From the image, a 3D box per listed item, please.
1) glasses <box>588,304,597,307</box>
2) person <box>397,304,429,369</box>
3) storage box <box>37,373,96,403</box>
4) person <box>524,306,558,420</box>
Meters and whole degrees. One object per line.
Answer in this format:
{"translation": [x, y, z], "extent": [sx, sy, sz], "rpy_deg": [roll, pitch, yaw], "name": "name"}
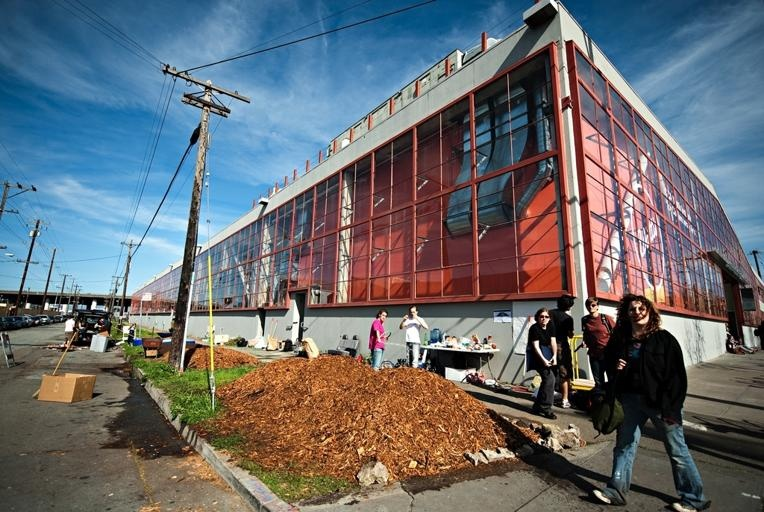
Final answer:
{"translation": [4.843, 1.135, 9.198], "extent": [0.095, 0.030, 0.088], "rpy_deg": [21, -25, -28], "name": "glasses"}
{"translation": [1.014, 2.507, 12.216], "extent": [0.710, 2.016, 1.434], "rpy_deg": [0, 1, 6], "name": "person"}
{"translation": [-7.973, 3.346, 10.203], "extent": [0.970, 0.564, 0.907], "rpy_deg": [1, -12, -4], "name": "storage box"}
{"translation": [3.464, 2.329, 8.693], "extent": [0.565, 2.347, 0.449], "rpy_deg": [0, 1, 19], "name": "person"}
